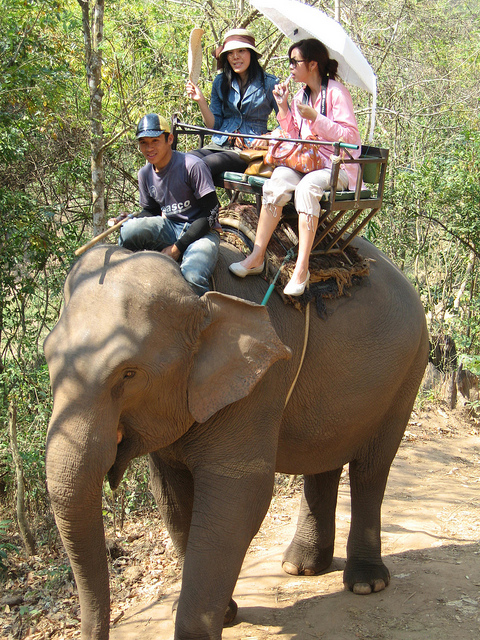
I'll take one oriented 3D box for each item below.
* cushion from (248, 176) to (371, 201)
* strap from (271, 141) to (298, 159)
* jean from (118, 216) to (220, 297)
[{"bbox_3d":[0.251,-0.504,2.307,0.358,0.113,0.372,3,7,37],"label":"cushion"},{"bbox_3d":[0.168,-0.687,2.420,0.081,0.085,0.021,30,-14,23],"label":"strap"},{"bbox_3d":[-0.286,-0.315,2.284,0.507,0.167,0.556,11,14,7],"label":"jean"}]
